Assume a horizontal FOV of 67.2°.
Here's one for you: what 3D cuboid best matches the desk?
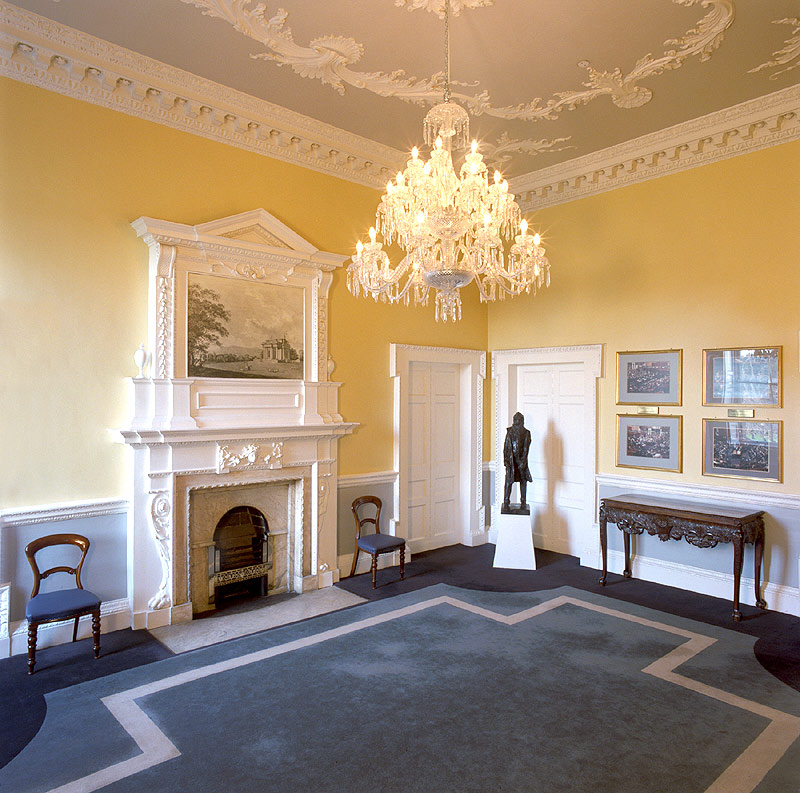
[{"bbox_3d":[2.885,1.582,6.133,0.648,0.963,1.437,-1,2,-45],"label":"desk"}]

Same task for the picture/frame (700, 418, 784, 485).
[{"bbox_3d":[3.476,0.554,6.021,0.690,0.609,0.029,0,-2,44],"label":"picture/frame"}]

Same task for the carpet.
[{"bbox_3d":[-1.327,2.080,5.629,1.807,0.035,0.693,-1,1,-40],"label":"carpet"}]

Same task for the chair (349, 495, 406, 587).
[{"bbox_3d":[-0.220,1.625,6.889,0.609,0.894,0.840,1,2,43],"label":"chair"}]

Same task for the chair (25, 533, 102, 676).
[{"bbox_3d":[-2.698,1.610,4.784,0.501,0.933,0.638,-1,2,-33],"label":"chair"}]

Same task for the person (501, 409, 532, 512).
[{"bbox_3d":[1.441,0.814,7.444,0.339,1.186,0.542,0,1,12],"label":"person"}]

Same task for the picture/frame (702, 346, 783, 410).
[{"bbox_3d":[3.484,-0.180,6.033,0.045,0.558,0.642,0,1,-41],"label":"picture/frame"}]
